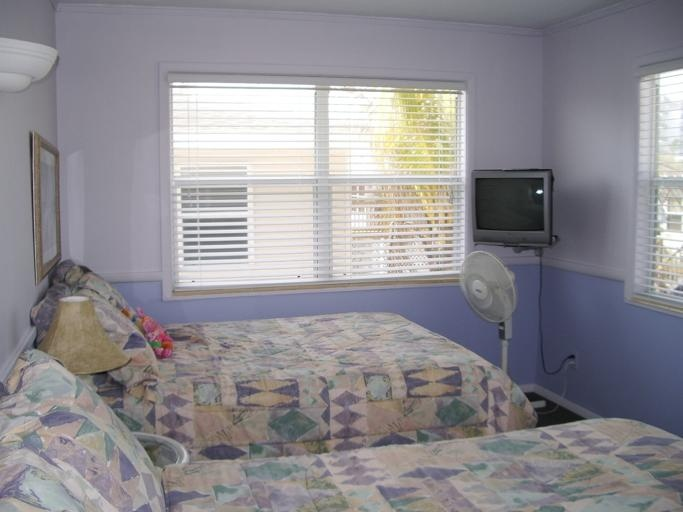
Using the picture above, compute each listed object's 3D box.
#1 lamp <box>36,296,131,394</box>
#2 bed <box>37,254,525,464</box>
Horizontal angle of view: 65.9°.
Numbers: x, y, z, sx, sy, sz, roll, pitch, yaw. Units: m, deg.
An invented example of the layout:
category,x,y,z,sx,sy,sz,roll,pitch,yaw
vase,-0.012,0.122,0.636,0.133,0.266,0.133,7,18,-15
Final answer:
category,x,y,z,sx,sy,sz,roll,pitch,yaw
lamp,-1.194,0.380,2.475,0.415,0.260,0.405,-2,12,-30
bed,-0.192,0.680,2.927,1.738,0.623,1.387,-4,9,-17
